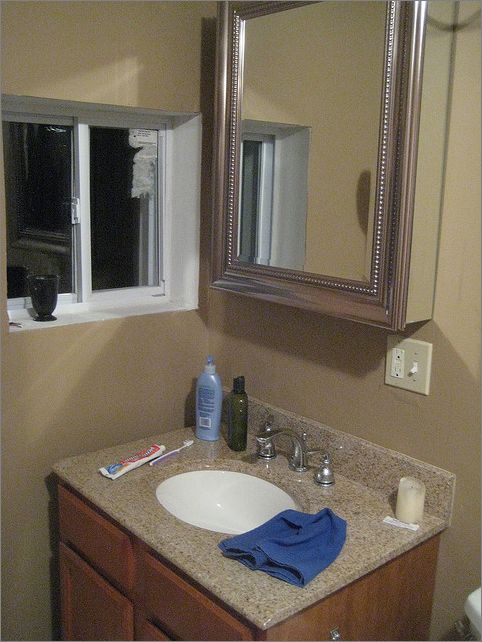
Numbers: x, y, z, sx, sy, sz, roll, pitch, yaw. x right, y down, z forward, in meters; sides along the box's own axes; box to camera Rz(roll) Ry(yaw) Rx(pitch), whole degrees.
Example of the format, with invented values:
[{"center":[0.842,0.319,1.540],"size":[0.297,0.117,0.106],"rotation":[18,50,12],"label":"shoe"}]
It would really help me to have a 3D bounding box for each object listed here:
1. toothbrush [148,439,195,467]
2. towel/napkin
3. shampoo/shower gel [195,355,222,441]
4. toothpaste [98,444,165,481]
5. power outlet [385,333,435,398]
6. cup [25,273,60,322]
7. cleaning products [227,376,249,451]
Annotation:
[{"center":[-0.179,0.348,1.432],"size":[0.031,0.016,0.187],"rotation":[18,20,26],"label":"toothbrush"},{"center":[0.089,0.404,1.015],"size":[0.200,0.036,0.236],"rotation":[6,9,35],"label":"towel/napkin"},{"center":[-0.093,0.210,1.512],"size":[0.073,0.227,0.083],"rotation":[0,5,-20],"label":"shampoo/shower gel"},{"center":[-0.267,0.339,1.345],"size":[0.053,0.026,0.135],"rotation":[10,20,40],"label":"toothpaste"},{"center":[0.365,0.093,1.158],"size":[0.017,0.133,0.115],"rotation":[-8,15,-35],"label":"power outlet"},{"center":[-0.507,-0.063,1.371],"size":[0.101,0.162,0.107],"rotation":[0,4,0],"label":"cup"},{"center":[-0.019,0.240,1.459],"size":[0.050,0.203,0.056],"rotation":[8,10,42],"label":"cleaning products"}]
